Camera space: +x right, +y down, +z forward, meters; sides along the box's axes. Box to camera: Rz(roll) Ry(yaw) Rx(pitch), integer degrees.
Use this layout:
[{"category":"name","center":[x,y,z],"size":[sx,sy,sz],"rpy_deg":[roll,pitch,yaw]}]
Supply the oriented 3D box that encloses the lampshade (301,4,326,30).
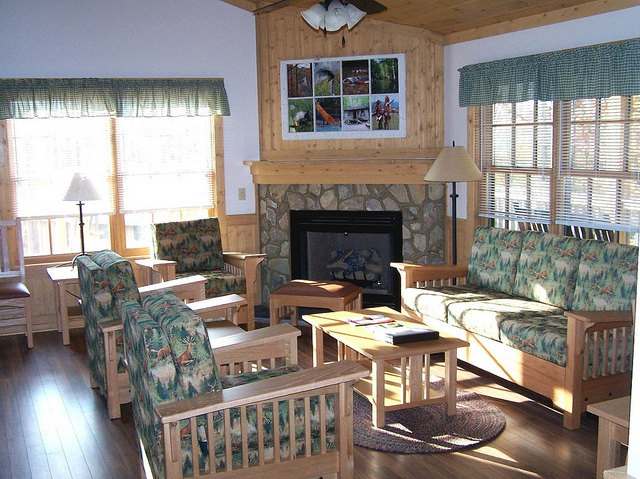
[{"category":"lampshade","center":[-0.018,-1.612,3.751],"size":[0.152,0.160,0.153],"rpy_deg":[35,-6,8]}]

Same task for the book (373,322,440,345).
[{"category":"book","center":[0.598,0.646,3.618],"size":[0.420,0.068,0.295],"rpy_deg":[-4,10,-19]}]

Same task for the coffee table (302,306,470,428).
[{"category":"coffee table","center":[0.447,0.928,3.913],"size":[0.775,0.502,1.203],"rpy_deg":[-2,5,-25]}]

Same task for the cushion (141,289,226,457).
[{"category":"cushion","center":[-0.642,0.651,2.389],"size":[0.270,0.690,0.772],"rpy_deg":[-17,23,-17]}]

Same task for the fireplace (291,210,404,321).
[{"category":"fireplace","center":[0.325,0.262,5.625],"size":[1.394,1.155,0.463],"rpy_deg":[0,3,11]}]

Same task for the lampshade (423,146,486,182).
[{"category":"lampshade","center":[1.298,-0.773,4.974],"size":[0.657,0.347,0.627],"rpy_deg":[2,13,20]}]

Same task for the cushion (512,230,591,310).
[{"category":"cushion","center":[1.971,0.252,4.350],"size":[0.280,0.558,0.632],"rpy_deg":[12,-7,-34]}]

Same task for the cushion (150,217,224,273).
[{"category":"cushion","center":[-1.469,0.051,5.783],"size":[0.714,0.589,0.181],"rpy_deg":[-3,1,-22]}]

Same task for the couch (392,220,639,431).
[{"category":"couch","center":[1.662,0.551,4.190],"size":[0.939,1.128,1.807],"rpy_deg":[-6,11,-26]}]

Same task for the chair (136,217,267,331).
[{"category":"chair","center":[-1.342,0.405,5.661],"size":[1.142,1.156,0.824],"rpy_deg":[-4,9,-26]}]

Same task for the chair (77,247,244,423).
[{"category":"chair","center":[-1.040,0.528,4.098],"size":[1.453,1.292,1.152],"rpy_deg":[-9,18,-31]}]

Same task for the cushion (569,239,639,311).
[{"category":"cushion","center":[2.050,0.264,3.698],"size":[0.118,0.503,0.555],"rpy_deg":[9,2,-26]}]

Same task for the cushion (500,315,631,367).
[{"category":"cushion","center":[1.713,0.695,3.514],"size":[0.463,0.107,0.483],"rpy_deg":[-2,6,-37]}]

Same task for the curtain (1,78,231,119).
[{"category":"curtain","center":[-2.202,-1.559,5.629],"size":[2.294,0.440,0.099],"rpy_deg":[-4,10,-18]}]

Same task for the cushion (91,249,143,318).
[{"category":"cushion","center":[-1.386,0.315,3.499],"size":[0.188,0.415,0.428],"rpy_deg":[-8,12,-33]}]

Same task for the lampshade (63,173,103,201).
[{"category":"lampshade","center":[-2.402,-0.541,5.239],"size":[0.319,0.185,0.285],"rpy_deg":[-3,7,7]}]

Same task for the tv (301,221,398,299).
[{"category":"tv","center":[0.366,0.218,5.850],"size":[0.963,0.711,0.307],"rpy_deg":[4,4,14]}]
